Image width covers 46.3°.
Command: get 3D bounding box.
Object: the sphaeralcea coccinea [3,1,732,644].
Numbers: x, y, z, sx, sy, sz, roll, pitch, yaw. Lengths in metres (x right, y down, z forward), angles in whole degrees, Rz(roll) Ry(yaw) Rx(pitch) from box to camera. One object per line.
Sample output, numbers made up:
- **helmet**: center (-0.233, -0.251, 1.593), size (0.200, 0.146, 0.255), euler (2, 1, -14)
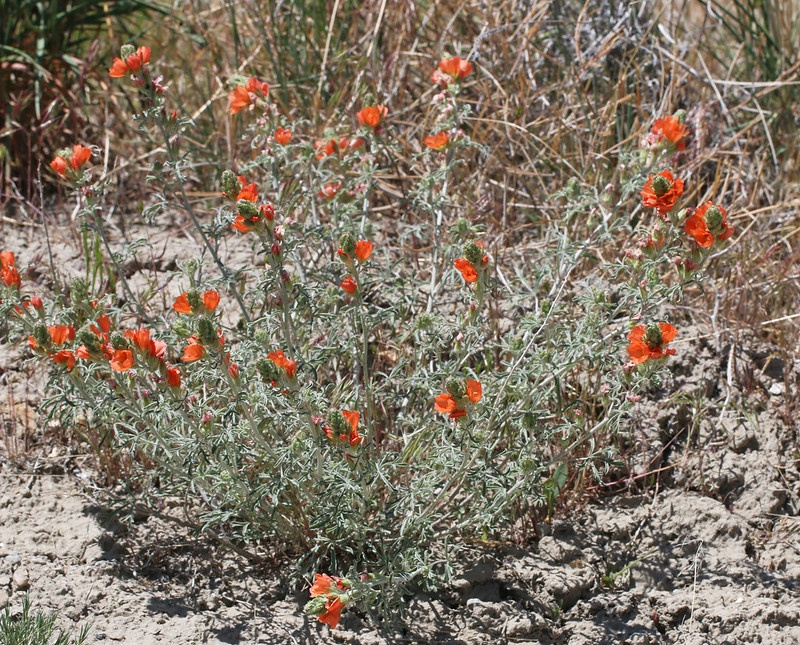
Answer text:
- **sphaeralcea coccinea**: center (-0.135, -0.212, 4.108), size (2.836, 1.786, 2.457), euler (-18, 47, -24)
